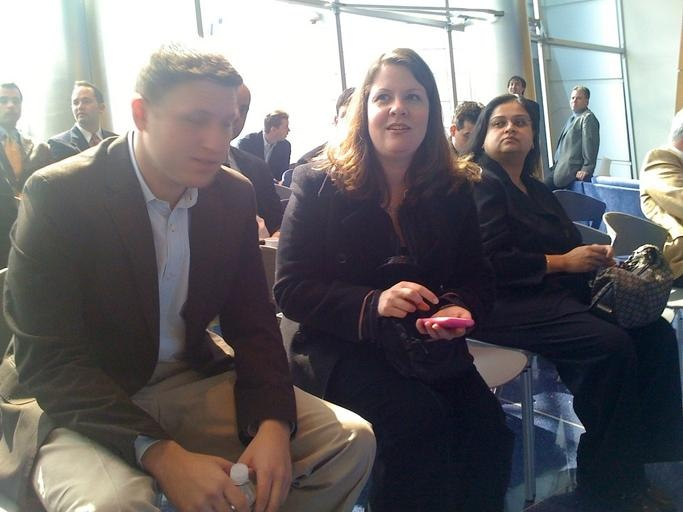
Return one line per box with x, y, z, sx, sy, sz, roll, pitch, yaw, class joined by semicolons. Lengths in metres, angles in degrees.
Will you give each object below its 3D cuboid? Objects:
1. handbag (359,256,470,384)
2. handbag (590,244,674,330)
0.274;0.249;2.067;0.351;0.465;0.190;4;-10;-19;handbag
1.346;0.155;2.437;0.417;0.426;0.277;3;-1;-32;handbag
